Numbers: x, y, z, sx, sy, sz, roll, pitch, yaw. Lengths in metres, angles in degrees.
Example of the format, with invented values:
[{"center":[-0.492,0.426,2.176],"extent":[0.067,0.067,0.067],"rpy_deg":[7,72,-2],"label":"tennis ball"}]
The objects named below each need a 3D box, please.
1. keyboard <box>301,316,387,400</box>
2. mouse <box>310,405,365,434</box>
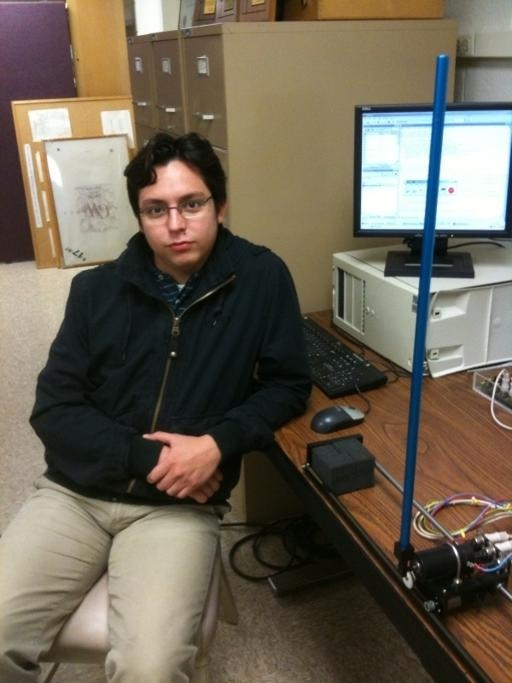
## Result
[{"center":[0.202,0.057,1.261],"extent":[0.125,0.056,0.348],"rpy_deg":[-15,29,-7],"label":"keyboard"},{"center":[0.155,0.142,1.035],"extent":[0.090,0.028,0.051],"rpy_deg":[-16,28,-22],"label":"mouse"}]
